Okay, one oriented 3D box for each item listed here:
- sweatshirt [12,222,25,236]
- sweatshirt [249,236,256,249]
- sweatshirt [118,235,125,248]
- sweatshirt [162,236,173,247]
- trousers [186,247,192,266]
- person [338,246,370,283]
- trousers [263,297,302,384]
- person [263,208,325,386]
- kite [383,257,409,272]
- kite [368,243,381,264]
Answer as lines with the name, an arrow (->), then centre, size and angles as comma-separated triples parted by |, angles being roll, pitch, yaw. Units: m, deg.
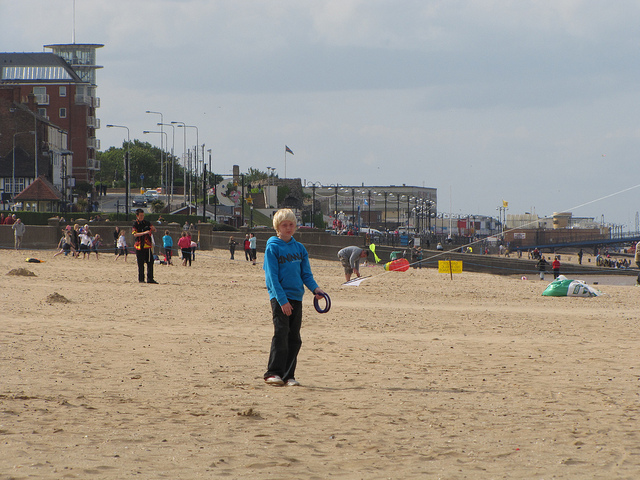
sweatshirt -> -12.522, -0.413, 55.413 | 0.413, 0.690, 0.893 | -1, 13, -17
sweatshirt -> -2.943, 0.152, 58.456 | 0.506, 0.598, 0.327 | 0, -4, -1
sweatshirt -> -7.874, 0.084, 52.910 | 0.247, 0.381, 0.452 | 0, 13, -9
sweatshirt -> -6.151, 0.073, 53.281 | 0.487, 0.629, 0.347 | -1, -6, -4
trousers -> -5.106, 0.676, 52.281 | 0.164, 0.747, 0.203 | 16, 12, 39
person -> 1.139, 0.645, 44.983 | 1.347, 1.618, 0.788 | 2, 11, 3
trousers -> -0.661, 1.991, 27.597 | 0.628, 2.146, 0.594 | 9, -27, -8
person -> -0.652, 1.198, 27.372 | 1.000, 3.633, 0.848 | -7, 16, -36
kite -> 3.398, 1.114, 56.691 | 1.015, 0.430, 0.580 | -1, 7, -31
kite -> 2.650, 0.760, 63.429 | 0.210, 1.240, 0.481 | 9, 36, 42
